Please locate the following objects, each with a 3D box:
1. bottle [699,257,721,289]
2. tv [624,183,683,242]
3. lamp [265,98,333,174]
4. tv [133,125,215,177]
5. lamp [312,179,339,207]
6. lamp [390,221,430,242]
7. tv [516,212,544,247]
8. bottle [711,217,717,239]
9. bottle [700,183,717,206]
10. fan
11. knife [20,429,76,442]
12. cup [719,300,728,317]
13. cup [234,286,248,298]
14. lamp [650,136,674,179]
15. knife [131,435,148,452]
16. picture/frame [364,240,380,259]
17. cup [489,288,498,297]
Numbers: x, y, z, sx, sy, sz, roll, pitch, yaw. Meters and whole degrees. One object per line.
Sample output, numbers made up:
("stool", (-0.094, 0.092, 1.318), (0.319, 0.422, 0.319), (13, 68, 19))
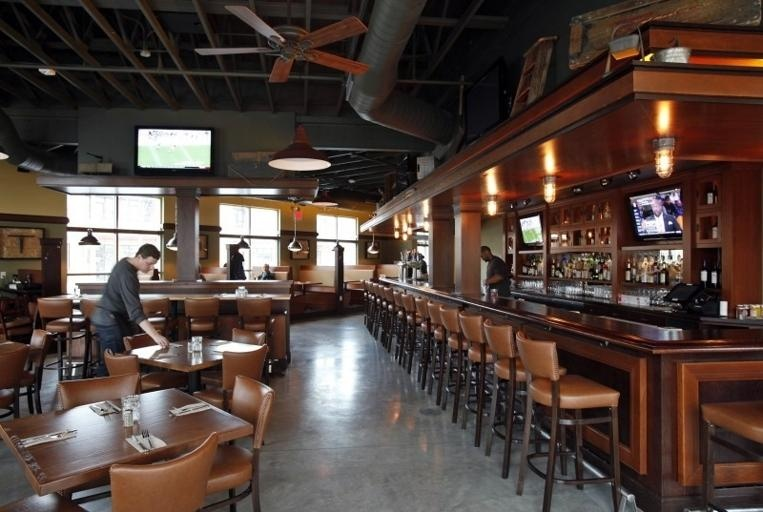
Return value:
("bottle", (4.260, 0.226, 6.992), (0.218, 0.385, 0.288), (-1, -4, 30))
("tv", (4.011, -0.571, 7.749), (0.099, 0.676, 0.977), (-9, 1, -14))
("lamp", (-1.007, -1.432, 6.739), (0.646, 0.556, 0.621), (0, 3, -17))
("tv", (-3.662, -1.801, 9.455), (1.073, 0.664, 0.105), (0, -5, -7))
("lamp", (-1.427, -1.638, 14.212), (0.819, 0.721, 0.732), (-3, 5, -23))
("lamp", (0.780, -0.693, 15.971), (1.042, 0.343, 1.391), (-3, -1, 9))
("tv", (2.924, -0.446, 10.625), (0.084, 0.649, 0.811), (-9, 1, 42))
("bottle", (4.265, -0.350, 6.901), (0.071, 0.290, 0.242), (-1, -4, 31))
("bottle", (4.225, -0.793, 6.949), (0.149, 0.332, 0.252), (0, -3, 19))
("fan", (-0.907, -2.213, 5.682), (1.521, 0.392, 1.282), (1, -4, -2))
("knife", (-2.592, 1.411, 4.223), (0.394, 0.037, 0.112), (-1, 9, -20))
("cup", (4.180, 0.646, 6.581), (0.135, 0.197, 0.062), (3, -3, -30))
("cup", (-2.246, 0.584, 8.653), (0.195, 0.172, 0.193), (0, 0, 0))
("lamp", (2.811, -0.959, 5.426), (0.234, 0.361, 0.237), (-10, 8, -42))
("knife", (-1.855, 1.442, 4.155), (0.093, 0.033, 0.156), (6, 15, -33))
("picture/frame", (-0.342, -0.170, 20.312), (0.659, 0.696, 0.627), (-4, 8, -26))
("cup", (1.672, 0.547, 7.938), (0.150, 0.150, 0.142), (2, -1, 0))
